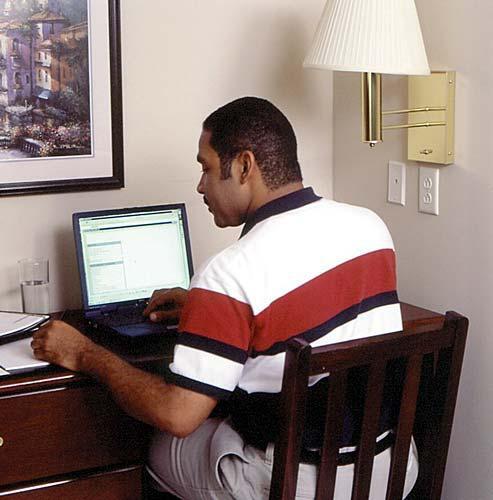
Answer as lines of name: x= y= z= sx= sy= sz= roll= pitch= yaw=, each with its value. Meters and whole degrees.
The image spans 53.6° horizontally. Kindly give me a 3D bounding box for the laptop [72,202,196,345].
laptop: x=-0.326 y=0.015 z=1.463 sx=0.389 sy=0.360 sz=0.329 roll=-4 pitch=6 yaw=-30
